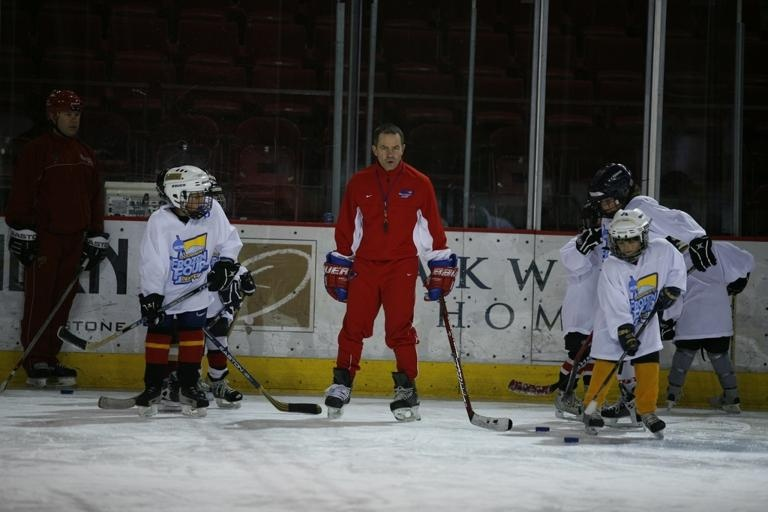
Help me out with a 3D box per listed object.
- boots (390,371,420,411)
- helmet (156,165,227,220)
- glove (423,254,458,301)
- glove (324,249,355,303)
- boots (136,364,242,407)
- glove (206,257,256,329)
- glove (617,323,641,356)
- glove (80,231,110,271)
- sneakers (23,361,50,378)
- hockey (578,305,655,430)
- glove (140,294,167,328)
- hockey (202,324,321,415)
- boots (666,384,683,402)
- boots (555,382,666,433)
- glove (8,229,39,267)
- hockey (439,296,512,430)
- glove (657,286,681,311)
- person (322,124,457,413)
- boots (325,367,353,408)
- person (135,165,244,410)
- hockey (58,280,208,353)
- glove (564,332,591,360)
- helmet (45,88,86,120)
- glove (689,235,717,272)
[{"bbox_3d":[0.145,0.868,6.181,0.170,0.242,0.124,0,-2,4],"label":"boots"},{"bbox_3d":[-1.245,-0.438,6.202,0.419,0.301,0.296,10,20,9],"label":"helmet"},{"bbox_3d":[0.394,0.146,6.510,0.273,0.390,0.324,4,2,-5],"label":"glove"},{"bbox_3d":[-0.292,0.134,6.308,0.239,0.298,0.124,0,6,5],"label":"glove"},{"bbox_3d":[-1.322,0.899,6.397,0.691,0.293,0.223,-3,0,3],"label":"boots"},{"bbox_3d":[-1.144,0.253,6.537,0.170,0.393,0.403,22,-12,29],"label":"glove"},{"bbox_3d":[1.544,0.512,5.915,0.134,0.193,0.082,-4,-19,8],"label":"glove"},{"bbox_3d":[-2.109,-0.049,7.122,0.216,0.248,0.256,6,7,-8],"label":"glove"},{"bbox_3d":[-2.488,0.816,6.872,0.169,0.112,0.064,1,-2,-14],"label":"sneakers"},{"bbox_3d":[1.504,0.699,6.025,0.453,0.757,0.228,0,-2,13],"label":"hockey"},{"bbox_3d":[-1.450,0.343,6.043,0.179,0.194,0.130,-5,-24,-1],"label":"glove"},{"bbox_3d":[-0.892,0.824,6.809,0.870,0.120,0.094,37,-7,13],"label":"hockey"},{"bbox_3d":[2.136,0.983,6.969,0.096,0.134,0.128,2,41,6],"label":"boots"},{"bbox_3d":[1.493,1.018,6.346,0.737,0.286,0.226,-1,5,9],"label":"boots"},{"bbox_3d":[-2.602,-0.074,6.991,0.206,0.252,0.264,1,8,-40],"label":"glove"},{"bbox_3d":[0.666,0.807,6.944,0.240,1.139,0.063,-14,-44,0],"label":"hockey"},{"bbox_3d":[1.815,0.265,6.081,0.062,0.163,0.123,33,16,-39],"label":"glove"},{"bbox_3d":[0.052,0.108,6.289,0.854,1.905,0.284,1,-2,-4],"label":"person"},{"bbox_3d":[-0.285,0.846,6.192,0.154,0.255,0.223,0,-2,10],"label":"boots"},{"bbox_3d":[-1.262,0.219,6.196,0.667,1.583,0.316,1,-2,-21],"label":"person"},{"bbox_3d":[-1.738,0.431,6.583,0.933,0.156,0.108,-28,-27,16],"label":"hockey"},{"bbox_3d":[1.365,0.635,6.672,0.185,0.176,0.175,-3,-3,40],"label":"glove"},{"bbox_3d":[-2.325,-1.099,6.967,0.266,0.247,0.205,0,9,-9],"label":"helmet"},{"bbox_3d":[2.183,-0.012,6.453,0.229,0.216,0.089,-24,-2,8],"label":"glove"}]
